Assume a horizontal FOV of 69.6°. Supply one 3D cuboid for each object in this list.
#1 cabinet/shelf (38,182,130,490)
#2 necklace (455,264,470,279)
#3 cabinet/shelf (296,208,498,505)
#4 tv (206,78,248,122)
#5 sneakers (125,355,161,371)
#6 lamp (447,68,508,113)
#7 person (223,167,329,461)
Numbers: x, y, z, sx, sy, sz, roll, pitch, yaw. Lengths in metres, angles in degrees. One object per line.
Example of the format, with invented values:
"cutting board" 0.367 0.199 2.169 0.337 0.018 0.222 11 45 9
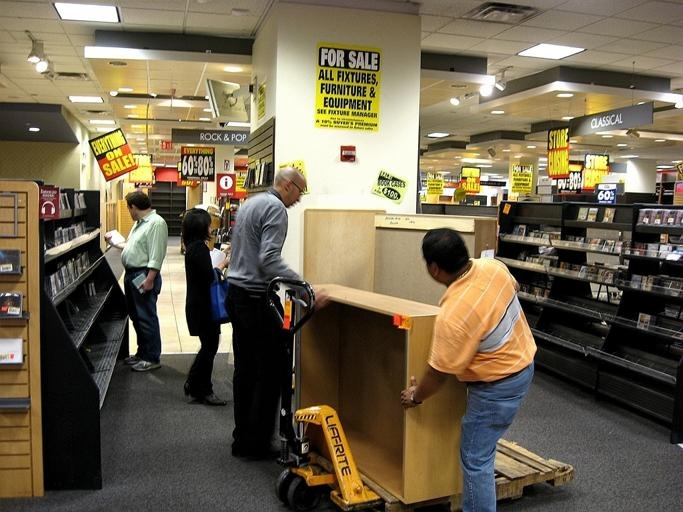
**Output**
"cabinet/shelf" -2.465 0.772 4.717 0.449 1.548 2.421 -1 7 -10
"necklace" 0.711 0.079 2.893 0.065 0.080 0.074 12 26 26
"cabinet/shelf" 0.384 0.780 3.543 0.684 2.431 1.956 1 2 -20
"tv" -1.664 -2.397 7.192 0.157 0.723 0.702 -10 -5 32
"sneakers" -2.522 1.389 6.252 0.293 0.111 0.204 10 -4 -24
"lamp" 2.575 -3.074 9.131 1.120 0.482 0.251 -29 15 6
"person" -0.621 0.483 4.253 0.727 2.467 0.838 0 8 -30
